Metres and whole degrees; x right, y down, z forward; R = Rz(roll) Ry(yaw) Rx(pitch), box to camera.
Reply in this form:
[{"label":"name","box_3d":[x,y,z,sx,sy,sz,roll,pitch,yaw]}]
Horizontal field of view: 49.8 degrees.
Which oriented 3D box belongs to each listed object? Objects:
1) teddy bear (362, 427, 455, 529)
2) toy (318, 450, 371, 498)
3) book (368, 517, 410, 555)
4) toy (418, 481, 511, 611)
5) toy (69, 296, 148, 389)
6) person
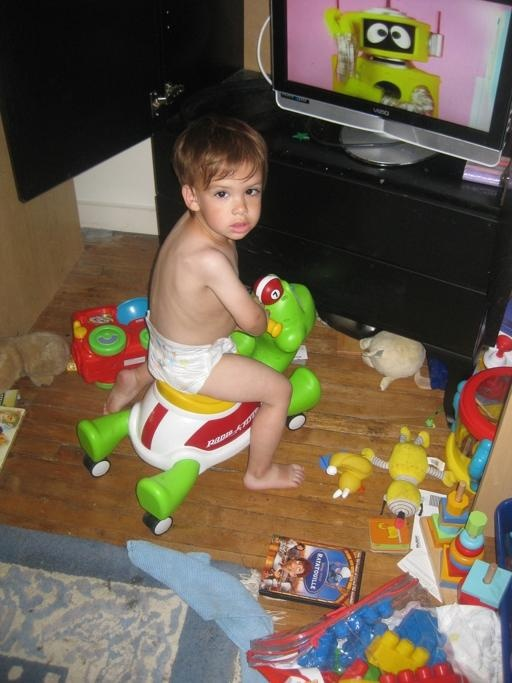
[{"label":"teddy bear","box_3d":[0.406,0.360,1.443,0.188,0.062,0.211,9,52,20]},{"label":"toy","box_3d":[0.232,0.331,1.409,0.107,0.056,0.113,-30,73,5]},{"label":"book","box_3d":[0.326,0.459,1.323,0.112,0.029,0.096,4,36,1]},{"label":"toy","box_3d":[0.454,0.448,1.185,0.102,0.186,0.197,-4,52,3]},{"label":"toy","box_3d":[-0.459,0.011,1.697,0.283,0.114,0.249,-14,56,-27]},{"label":"person","box_3d":[-0.124,-0.046,1.284,0.561,0.863,0.236,16,38,17]}]
